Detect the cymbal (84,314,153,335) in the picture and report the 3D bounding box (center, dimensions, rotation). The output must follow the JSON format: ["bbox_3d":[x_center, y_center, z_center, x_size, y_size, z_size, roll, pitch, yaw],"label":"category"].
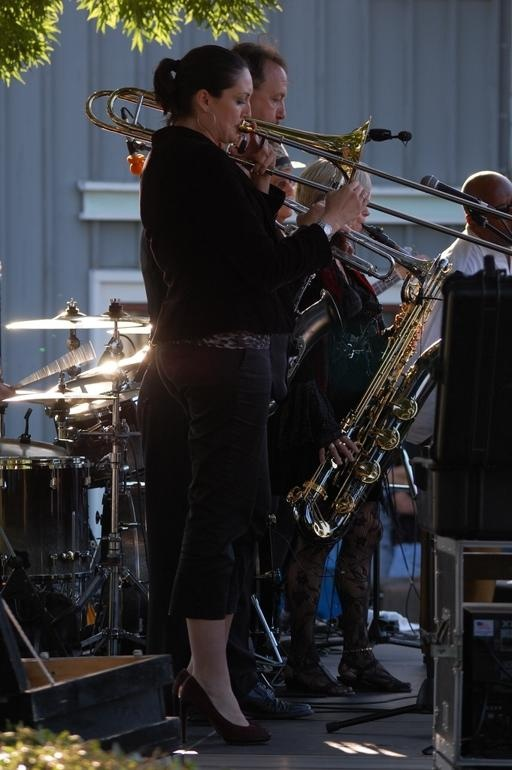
[{"bbox_3d":[-0.620,-0.271,5.496,0.320,0.071,0.307,-1,0,14],"label":"cymbal"}]

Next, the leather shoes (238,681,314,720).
[{"bbox_3d":[0.046,0.861,3.377,0.253,0.102,0.077,1,-2,-11],"label":"leather shoes"}]

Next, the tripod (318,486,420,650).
[{"bbox_3d":[0.569,0.797,5.559,0.486,0.761,0.502,1,3,7],"label":"tripod"}]

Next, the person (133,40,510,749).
[{"bbox_3d":[0.076,-0.126,3.271,0.703,2.001,0.667,0,-1,9],"label":"person"}]

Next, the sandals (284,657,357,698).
[{"bbox_3d":[0.173,0.891,3.707,0.235,0.092,0.080,-8,-10,33],"label":"sandals"}]
